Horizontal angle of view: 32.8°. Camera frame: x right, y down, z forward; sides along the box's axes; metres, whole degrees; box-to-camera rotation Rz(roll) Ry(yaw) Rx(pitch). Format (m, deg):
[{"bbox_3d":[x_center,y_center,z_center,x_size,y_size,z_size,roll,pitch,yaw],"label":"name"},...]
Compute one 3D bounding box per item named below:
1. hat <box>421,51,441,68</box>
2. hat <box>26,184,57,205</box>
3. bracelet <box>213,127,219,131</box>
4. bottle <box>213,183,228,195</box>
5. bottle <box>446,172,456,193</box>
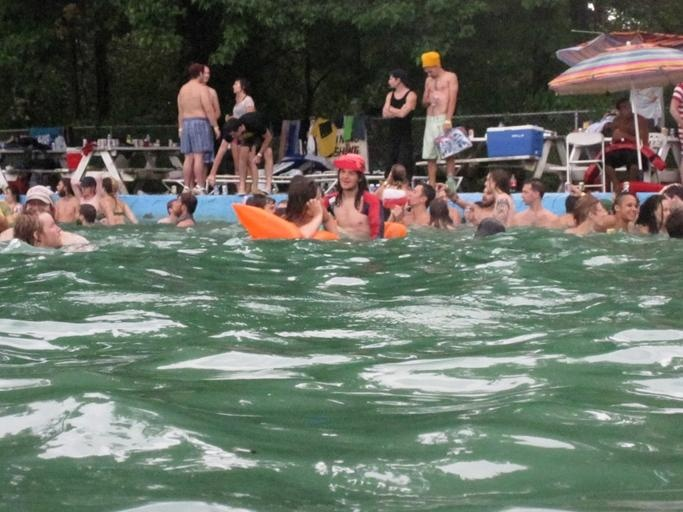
[{"bbox_3d":[1.222,-2.607,15.454,0.216,0.235,0.306,-1,3,10],"label":"hat"},{"bbox_3d":[-3.589,-0.756,13.864,0.310,0.191,0.413,2,-8,-4],"label":"hat"},{"bbox_3d":[-1.703,-1.748,15.908,0.075,0.063,0.073,0,3,32],"label":"bracelet"},{"bbox_3d":[-1.851,-1.047,18.119,0.156,0.164,0.468,-1,-2,19],"label":"bottle"},{"bbox_3d":[1.518,-0.970,15.722,0.166,0.167,0.439,-1,-8,6],"label":"bottle"}]
